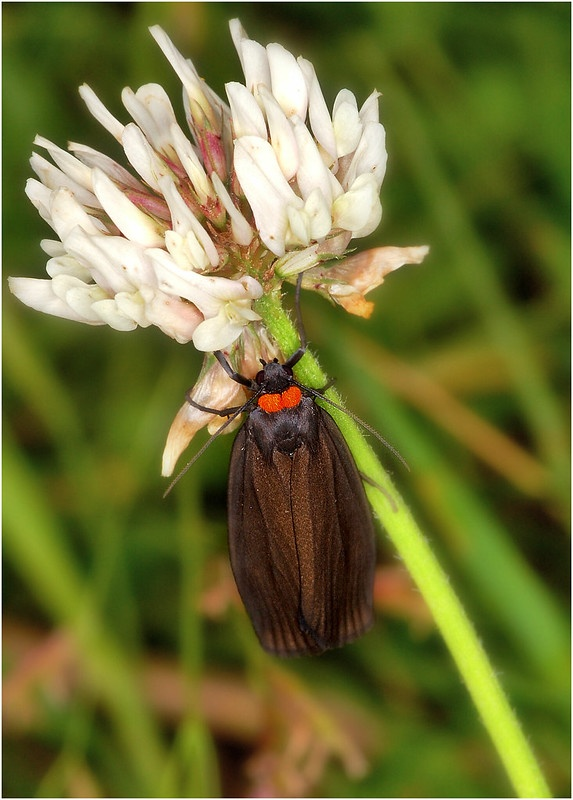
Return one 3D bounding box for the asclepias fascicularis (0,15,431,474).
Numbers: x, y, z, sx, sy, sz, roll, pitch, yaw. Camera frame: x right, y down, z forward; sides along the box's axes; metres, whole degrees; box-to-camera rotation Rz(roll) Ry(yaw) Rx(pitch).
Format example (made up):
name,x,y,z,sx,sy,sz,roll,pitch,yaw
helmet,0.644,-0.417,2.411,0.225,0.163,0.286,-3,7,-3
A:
name,x,y,z,sx,sy,sz,roll,pitch,yaw
asclepias fascicularis,-0.236,-0.396,2.731,1.412,0.735,1.259,6,-97,1
